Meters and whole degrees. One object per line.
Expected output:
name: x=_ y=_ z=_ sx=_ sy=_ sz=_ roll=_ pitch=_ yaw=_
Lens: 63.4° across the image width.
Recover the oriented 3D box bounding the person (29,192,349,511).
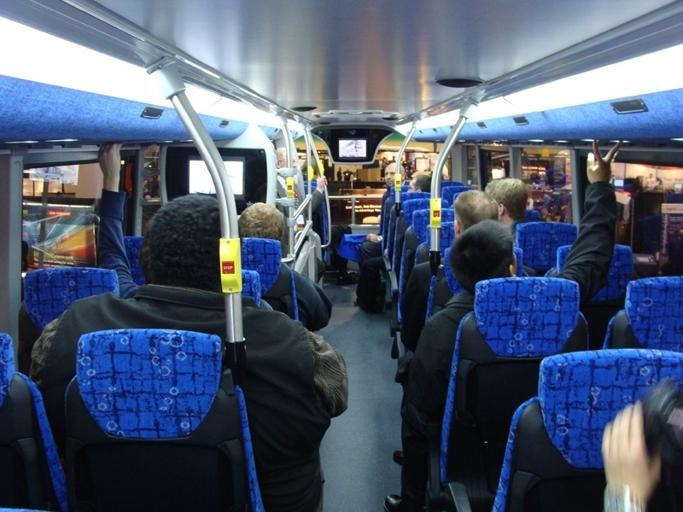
person: x=-0.345 y=0.291 z=2.212 sx=1.103 sy=1.399 sz=1.018 roll=2 pitch=17 yaw=2
